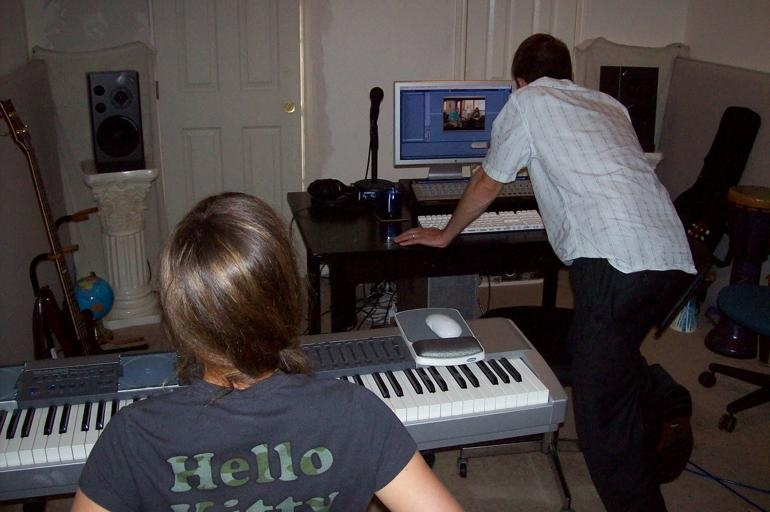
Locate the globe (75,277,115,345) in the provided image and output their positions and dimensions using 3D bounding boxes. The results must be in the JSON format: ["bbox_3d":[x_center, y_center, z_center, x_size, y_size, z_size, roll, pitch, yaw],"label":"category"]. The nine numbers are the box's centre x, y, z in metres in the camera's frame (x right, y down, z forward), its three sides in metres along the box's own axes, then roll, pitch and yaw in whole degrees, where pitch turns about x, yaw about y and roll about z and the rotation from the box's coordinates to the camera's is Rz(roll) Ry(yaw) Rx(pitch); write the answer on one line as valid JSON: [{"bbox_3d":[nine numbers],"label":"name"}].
[{"bbox_3d":[-1.956,0.327,4.054,0.233,0.412,0.241,4,10,33],"label":"globe"}]

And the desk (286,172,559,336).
[{"bbox_3d":[0.268,-0.060,3.265,0.600,0.725,0.751,5,4,-8],"label":"desk"}]

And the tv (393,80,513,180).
[{"bbox_3d":[0.356,-0.681,3.176,0.616,0.468,0.147,-2,17,-8],"label":"tv"}]
